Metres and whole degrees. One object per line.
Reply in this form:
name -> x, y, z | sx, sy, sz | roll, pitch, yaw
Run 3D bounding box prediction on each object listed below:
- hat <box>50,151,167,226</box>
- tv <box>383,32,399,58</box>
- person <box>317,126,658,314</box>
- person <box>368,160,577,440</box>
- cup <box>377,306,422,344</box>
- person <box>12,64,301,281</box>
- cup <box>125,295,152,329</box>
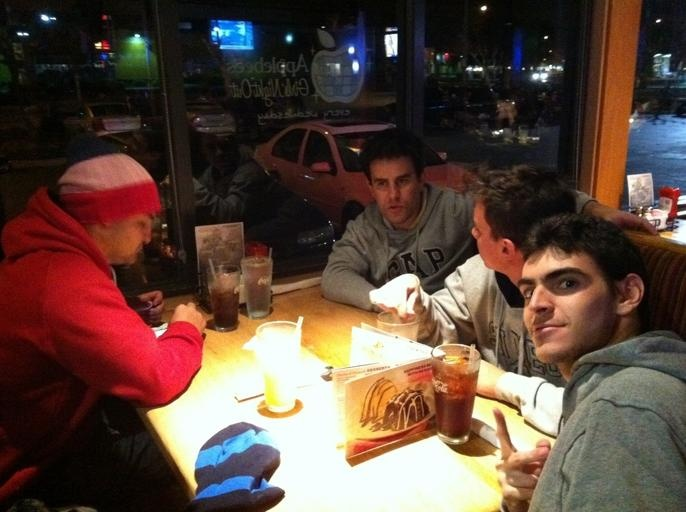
hat -> -0.784, -0.231, 1.643 | 0.305, 0.217, 0.218 | -4, 12, -33
tv -> 0.280, -1.260, 2.910 | 0.135, 0.174, 0.019 | -8, 16, -25
person -> 0.535, -0.225, 2.358 | 1.225, 0.547, 0.823 | -23, 2, 21
person -> 0.429, 0.143, 1.660 | 0.510, 0.915, 0.547 | -22, 27, -4
cup -> 0.188, 0.229, 1.637 | 0.114, 0.115, 0.106 | -1, 11, 0
person -> -0.735, -0.326, 2.439 | 1.235, 0.392, 0.518 | -6, -13, -33
cup -> -0.807, 0.224, 1.960 | 0.118, 0.105, 0.098 | 3, 16, 6
